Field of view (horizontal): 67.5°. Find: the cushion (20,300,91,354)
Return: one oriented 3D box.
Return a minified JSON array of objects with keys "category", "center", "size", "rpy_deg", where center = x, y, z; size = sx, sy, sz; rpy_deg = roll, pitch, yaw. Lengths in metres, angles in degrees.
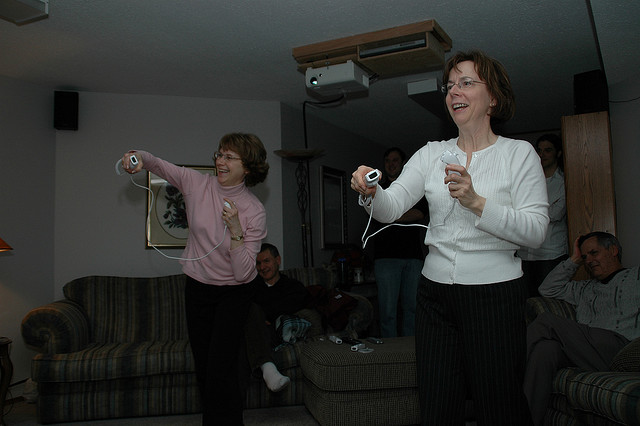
[{"category":"cushion","center":[-2.159,0.904,3.976],"size":[0.444,0.401,0.475],"rpy_deg":[3,1,-8]}]

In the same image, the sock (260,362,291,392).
[{"category":"sock","center":[-0.345,1.221,3.600],"size":[0.136,0.144,0.224],"rpy_deg":[-6,-4,-27]}]

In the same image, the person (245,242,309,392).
[{"category":"person","center":[-0.402,0.827,3.901],"size":[0.652,0.605,1.453],"rpy_deg":[4,22,-6]}]

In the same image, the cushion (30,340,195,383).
[{"category":"cushion","center":[-1.614,1.212,3.930],"size":[1.136,0.251,0.533],"rpy_deg":[0,-6,-16]}]

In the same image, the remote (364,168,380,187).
[{"category":"remote","center":[0.223,-0.153,2.070],"size":[0.066,0.063,0.075],"rpy_deg":[-8,-3,6]}]

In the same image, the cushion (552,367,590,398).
[{"category":"cushion","center":[1.617,1.053,3.029],"size":[0.176,0.060,0.138],"rpy_deg":[-3,41,7]}]

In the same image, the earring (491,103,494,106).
[{"category":"earring","center":[0.779,-0.491,2.160],"size":[0.006,0.011,0.003],"rpy_deg":[-8,-3,-2]}]

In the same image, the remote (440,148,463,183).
[{"category":"remote","center":[0.566,-0.200,2.067],"size":[0.067,0.034,0.146],"rpy_deg":[-19,13,15]}]

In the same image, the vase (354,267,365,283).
[{"category":"vase","center":[0.459,0.750,5.779],"size":[0.134,0.145,0.154],"rpy_deg":[0,-10,-1]}]

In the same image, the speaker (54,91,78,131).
[{"category":"speaker","center":[-2.602,-1.056,4.919],"size":[0.284,0.378,0.267],"rpy_deg":[7,9,14]}]
